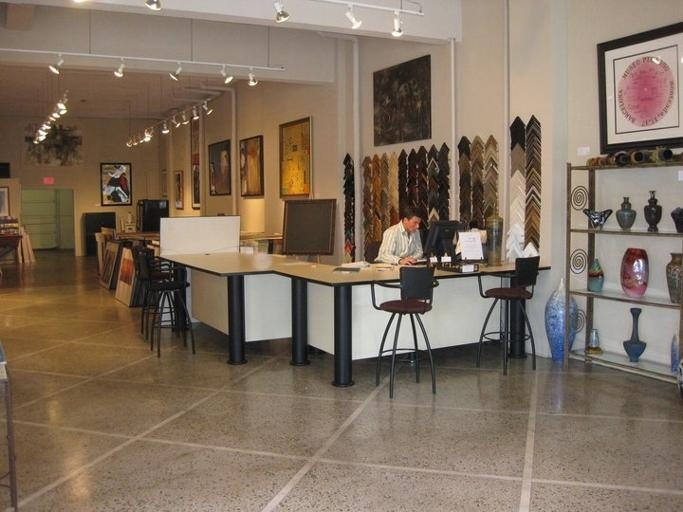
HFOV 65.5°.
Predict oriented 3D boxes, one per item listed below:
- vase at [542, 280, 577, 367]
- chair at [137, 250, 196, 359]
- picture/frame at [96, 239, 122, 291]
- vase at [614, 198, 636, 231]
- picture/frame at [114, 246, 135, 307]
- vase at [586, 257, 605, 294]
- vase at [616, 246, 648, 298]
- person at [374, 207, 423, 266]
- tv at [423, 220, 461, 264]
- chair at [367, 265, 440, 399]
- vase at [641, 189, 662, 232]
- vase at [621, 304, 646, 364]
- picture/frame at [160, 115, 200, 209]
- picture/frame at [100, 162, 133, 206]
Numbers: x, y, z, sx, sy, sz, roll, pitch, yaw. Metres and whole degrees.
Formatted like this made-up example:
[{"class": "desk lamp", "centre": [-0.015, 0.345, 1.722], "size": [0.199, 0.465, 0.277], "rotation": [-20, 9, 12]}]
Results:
[{"class": "vase", "centre": [2.529, 0.726, 6.227], "size": [0.365, 0.958, 0.389], "rotation": [-1, 14, 18]}, {"class": "chair", "centre": [-2.198, 0.670, 7.277], "size": [0.385, 0.960, 1.115], "rotation": [-3, 8, -22]}, {"class": "picture/frame", "centre": [-4.826, 0.211, 11.803], "size": [0.378, 1.125, 0.957], "rotation": [6, -7, -23]}, {"class": "vase", "centre": [2.940, -0.448, 5.607], "size": [0.199, 0.340, 0.205], "rotation": [-3, 7, -13]}, {"class": "picture/frame", "centre": [-3.826, 0.409, 10.041], "size": [0.131, 0.930, 0.988], "rotation": [5, 0, -20]}, {"class": "vase", "centre": [2.799, 0.196, 5.952], "size": [0.217, 0.343, 0.221], "rotation": [-10, 10, -26]}, {"class": "vase", "centre": [3.022, 0.176, 5.603], "size": [0.176, 0.502, 0.232], "rotation": [-4, 7, -29]}, {"class": "person", "centre": [0.773, -0.254, 6.691], "size": [0.566, 0.668, 0.962], "rotation": [0, 6, 9]}, {"class": "tv", "centre": [1.216, -0.174, 6.129], "size": [0.398, 0.482, 0.250], "rotation": [-4, 18, -24]}, {"class": "chair", "centre": [0.670, 0.722, 5.366], "size": [0.564, 1.297, 0.575], "rotation": [1, 3, 4]}, {"class": "vase", "centre": [3.113, -0.462, 5.414], "size": [0.160, 0.421, 0.437], "rotation": [3, 7, 31]}, {"class": "vase", "centre": [3.126, 0.846, 5.757], "size": [0.192, 0.589, 0.269], "rotation": [4, 8, 40]}, {"class": "picture/frame", "centre": [-4.769, -3.040, 17.118], "size": [0.128, 3.353, 3.060], "rotation": [-1, 3, -27]}, {"class": "picture/frame", "centre": [-7.643, -2.656, 19.143], "size": [1.348, 2.036, 0.140], "rotation": [-3, 10, -22]}]
